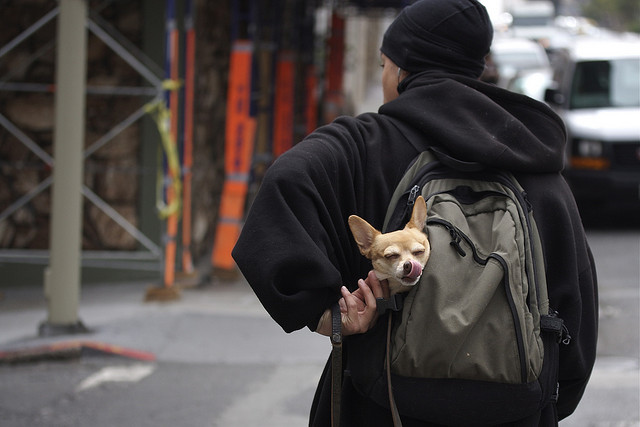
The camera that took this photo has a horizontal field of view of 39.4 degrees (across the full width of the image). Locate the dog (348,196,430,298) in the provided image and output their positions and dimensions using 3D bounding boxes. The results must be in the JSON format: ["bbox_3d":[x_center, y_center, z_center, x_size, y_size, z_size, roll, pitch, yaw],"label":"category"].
[{"bbox_3d":[0.370,0.142,4.201,0.362,0.456,0.303,-5,-8,-13],"label":"dog"}]
